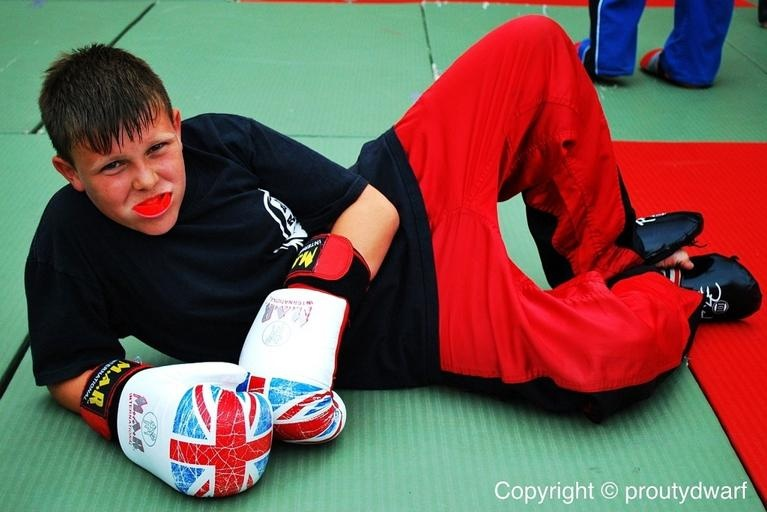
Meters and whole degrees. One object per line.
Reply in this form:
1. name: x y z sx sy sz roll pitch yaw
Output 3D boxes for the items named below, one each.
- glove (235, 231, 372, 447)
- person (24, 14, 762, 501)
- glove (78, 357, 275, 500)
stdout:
1. glove: -0.148 0.201 1.572 0.304 0.488 0.194 17 -1 18
2. person: -0.105 0.044 1.696 1.644 0.659 1.131 10 33 16
3. glove: -0.502 0.396 1.479 0.420 0.225 0.275 15 18 32
